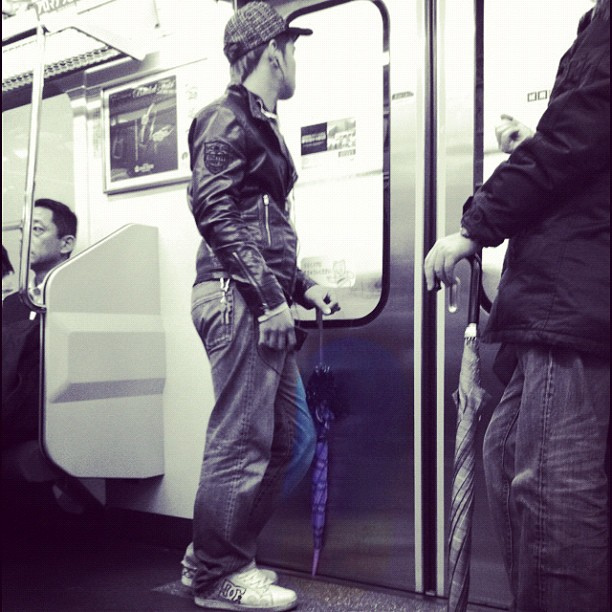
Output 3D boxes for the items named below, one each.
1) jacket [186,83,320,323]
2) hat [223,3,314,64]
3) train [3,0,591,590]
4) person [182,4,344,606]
[{"bbox_3d":[-0.173,-0.302,1.962,0.299,0.676,0.251,-3,6,-6],"label":"jacket"},{"bbox_3d":[-0.113,-0.827,2.089,0.239,0.138,0.152,-36,24,-2],"label":"hat"},{"bbox_3d":[-0.004,-0.128,2.739,1.817,2.195,1.627,5,2,24],"label":"train"},{"bbox_3d":[-0.160,-0.032,2.025,0.362,1.700,0.505,2,7,37],"label":"person"}]
